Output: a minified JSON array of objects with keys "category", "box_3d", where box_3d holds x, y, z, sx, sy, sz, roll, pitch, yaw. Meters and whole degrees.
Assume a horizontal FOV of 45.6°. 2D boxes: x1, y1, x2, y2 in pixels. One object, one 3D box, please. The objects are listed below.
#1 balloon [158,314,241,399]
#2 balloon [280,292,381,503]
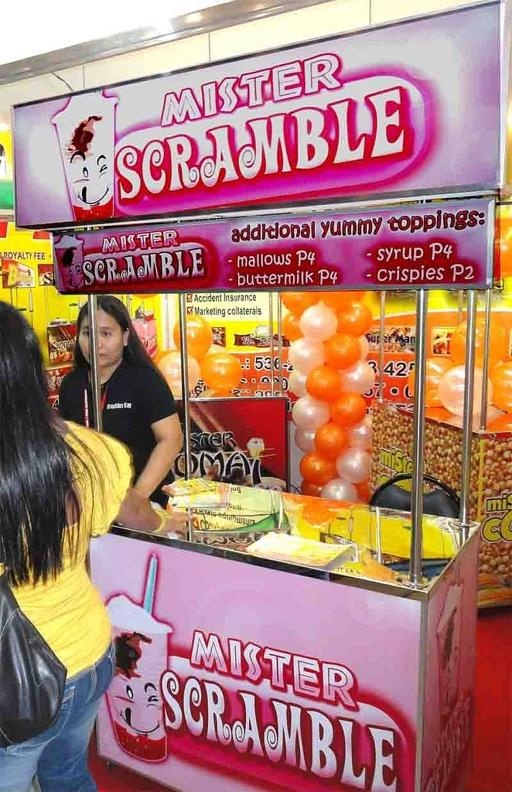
[{"category":"balloon","box_3d":[-0.377,-0.284,4.236,0.585,0.582,0.255,-4,30,-17]},{"category":"balloon","box_3d":[0.492,0.005,4.171,0.608,1.411,0.669,0,8,3]}]
